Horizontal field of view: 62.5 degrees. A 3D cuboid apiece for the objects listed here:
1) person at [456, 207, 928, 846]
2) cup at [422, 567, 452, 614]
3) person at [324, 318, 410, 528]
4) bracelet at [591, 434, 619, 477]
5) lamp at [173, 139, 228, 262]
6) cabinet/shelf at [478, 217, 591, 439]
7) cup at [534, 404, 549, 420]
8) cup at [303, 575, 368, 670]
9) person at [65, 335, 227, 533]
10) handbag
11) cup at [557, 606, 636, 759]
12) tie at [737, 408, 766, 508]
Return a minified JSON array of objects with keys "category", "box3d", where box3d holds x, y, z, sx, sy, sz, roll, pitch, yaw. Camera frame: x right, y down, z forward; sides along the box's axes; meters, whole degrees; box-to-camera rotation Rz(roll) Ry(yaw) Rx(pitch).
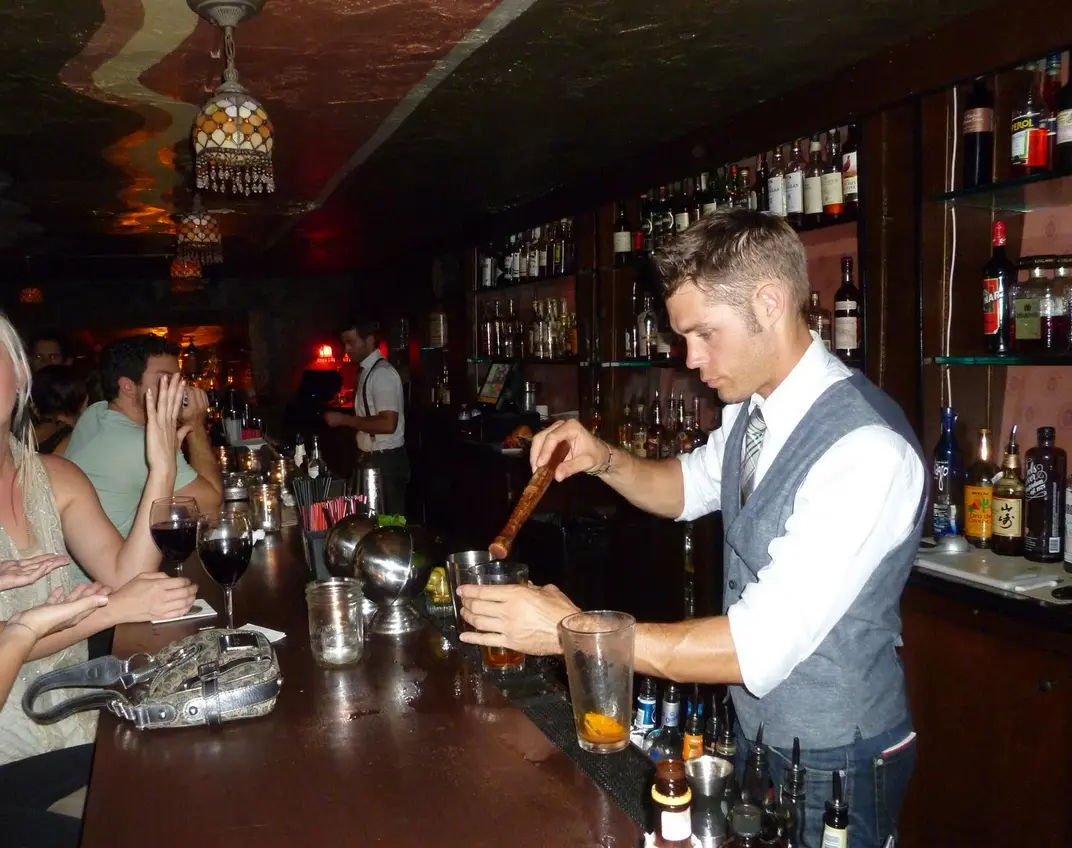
[{"category":"person","box3d":[0.428,0.254,1.973,0.806,1.423,0.953,9,15,32]},{"category":"cup","box3d":[-0.239,0.439,2.328,0.106,0.123,0.109,1,-5,0]},{"category":"person","box3d":[-1.157,-0.017,6.090,0.541,1.399,0.843,-1,13,-9]},{"category":"bracelet","box3d":[0.196,0.092,2.385,0.058,0.085,0.083,14,3,21]},{"category":"lamp","box3d":[-2.389,-1.531,6.348,0.336,0.805,0.348,7,17,42]},{"category":"cabinet/shelf","box3d":[0.102,-0.768,6.493,0.420,1.286,1.426,-7,7,-36]},{"category":"cup","box3d":[0.040,-0.070,6.370,0.099,0.145,0.104,4,42,-4]},{"category":"cup","box3d":[-0.451,0.449,2.015,0.124,0.182,0.131,1,12,0]},{"category":"person","box3d":[-1.537,0.142,3.569,0.571,1.047,0.475,-6,36,-18]},{"category":"handbag","box3d":[-0.759,0.515,1.771,0.396,0.135,0.244,-2,6,-14]},{"category":"cup","box3d":[0.115,0.480,1.683,0.137,0.263,0.130,1,12,0]},{"category":"tie","box3d":[0.514,0.071,2.119,0.041,0.289,0.035,-1,-36,19]}]
